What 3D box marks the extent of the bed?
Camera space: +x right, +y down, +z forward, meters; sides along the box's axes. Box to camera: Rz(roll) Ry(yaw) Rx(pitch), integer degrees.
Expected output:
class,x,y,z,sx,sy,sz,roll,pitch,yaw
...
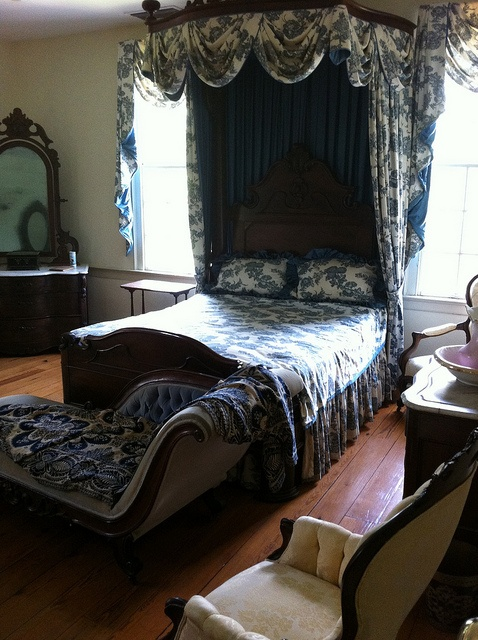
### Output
class,x,y,z,sx,sy,sz,roll,pitch,yaw
bed,-0.351,-0.970,4.773,2.667,3.694,2.329,11,23,31

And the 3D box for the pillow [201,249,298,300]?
class,x,y,z,sx,sy,sz,roll,pitch,yaw
pillow,0.110,-0.351,3.942,0.545,0.392,0.156,2,-15,11
